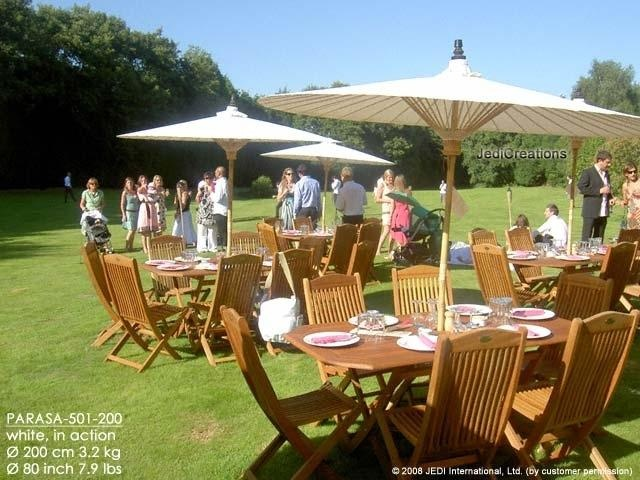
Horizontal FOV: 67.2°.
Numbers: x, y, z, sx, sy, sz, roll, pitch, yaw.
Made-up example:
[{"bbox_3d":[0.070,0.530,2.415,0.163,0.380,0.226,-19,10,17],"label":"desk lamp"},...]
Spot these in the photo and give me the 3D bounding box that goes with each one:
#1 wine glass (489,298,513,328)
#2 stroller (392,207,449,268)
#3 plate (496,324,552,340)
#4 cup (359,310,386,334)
[{"bbox_3d":[1.645,0.664,4.366,0.214,0.258,0.217,0,-1,-25],"label":"wine glass"},{"bbox_3d":[2.375,-0.068,11.910,1.009,1.718,1.438,-3,8,-21],"label":"stroller"},{"bbox_3d":[1.843,0.771,4.112,0.315,0.037,0.330,-3,4,-1],"label":"plate"},{"bbox_3d":[0.464,0.702,4.200,0.180,0.182,0.182,0,0,0],"label":"cup"}]
